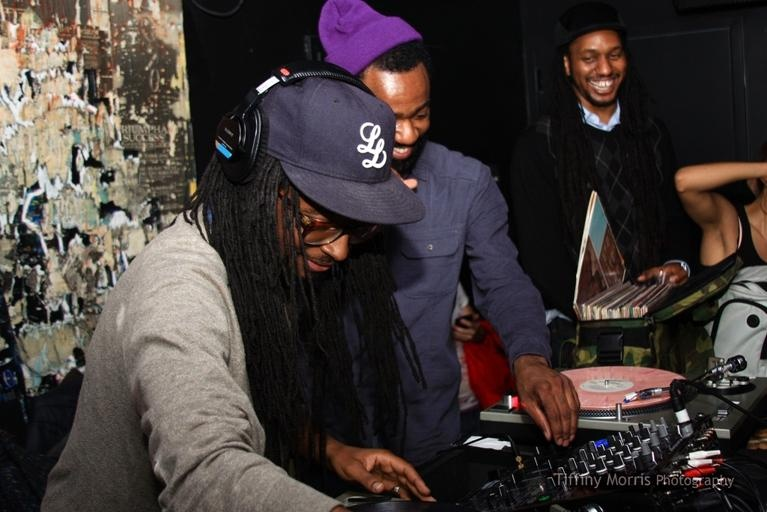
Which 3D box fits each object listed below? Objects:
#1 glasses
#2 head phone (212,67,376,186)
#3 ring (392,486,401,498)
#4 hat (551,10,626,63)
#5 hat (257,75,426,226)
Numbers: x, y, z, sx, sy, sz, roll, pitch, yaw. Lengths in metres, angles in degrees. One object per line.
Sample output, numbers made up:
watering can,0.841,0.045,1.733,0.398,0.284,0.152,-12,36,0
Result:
glasses,-0.125,-0.060,1.439,0.106,0.042,0.131,10,13,-40
head phone,-0.238,-0.301,1.533,0.130,0.303,0.344,32,3,28
ring,0.035,0.585,1.564,0.014,0.020,0.007,-7,-1,44
hat,1.005,-1.147,3.181,0.205,0.146,0.288,-15,-11,-2
hat,-0.097,-0.225,1.430,0.353,0.181,0.271,33,32,17
